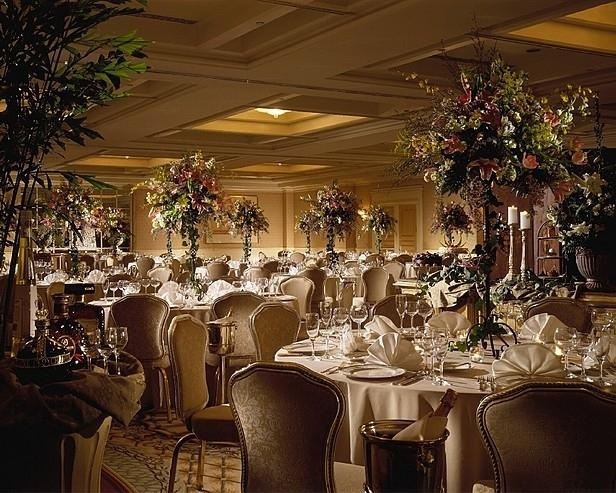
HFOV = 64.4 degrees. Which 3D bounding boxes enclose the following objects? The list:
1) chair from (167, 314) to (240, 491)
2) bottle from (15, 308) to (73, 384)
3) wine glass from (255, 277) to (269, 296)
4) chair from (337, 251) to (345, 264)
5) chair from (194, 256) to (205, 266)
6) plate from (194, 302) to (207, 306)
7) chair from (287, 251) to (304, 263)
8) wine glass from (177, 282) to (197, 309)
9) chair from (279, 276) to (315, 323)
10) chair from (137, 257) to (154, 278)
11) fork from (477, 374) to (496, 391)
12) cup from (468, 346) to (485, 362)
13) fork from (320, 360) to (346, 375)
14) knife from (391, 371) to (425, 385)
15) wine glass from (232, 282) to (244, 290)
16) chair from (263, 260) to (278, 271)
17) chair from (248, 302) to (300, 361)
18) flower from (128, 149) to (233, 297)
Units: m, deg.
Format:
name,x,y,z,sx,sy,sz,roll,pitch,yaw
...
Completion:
name,x,y,z,sx,sy,sz,roll,pitch,yaw
chair,-0.668,1.000,3.075,0.396,1.134,0.673,0,-4,-16
bottle,-0.767,0.309,1.518,0.164,0.189,0.180,1,2,2
wine glass,-0.589,0.517,6.250,0.187,0.300,0.183,-3,3,-9
chair,0.916,0.309,13.409,0.295,0.350,0.304,0,2,-16
chair,-1.881,0.268,8.524,0.213,0.221,0.221,0,4,3
plate,-1.173,0.633,5.375,0.124,0.037,0.168,0,-5,-16
chair,-0.276,0.298,12.856,0.253,0.353,0.338,2,-3,-16
wine glass,-1.338,0.568,5.430,0.200,0.355,0.228,2,1,2
chair,-0.108,0.698,6.873,0.447,0.871,0.530,-1,-8,3
chair,-3.411,0.446,10.247,0.333,0.500,0.401,3,1,-8
fork,0.825,0.624,2.250,0.044,0.018,0.118,3,9,4
cup,0.961,0.610,2.758,0.086,0.089,0.090,0,-6,0
fork,0.141,0.661,2.665,0.078,0.046,0.362,4,-7,11
knife,0.490,0.622,2.361,0.054,0.043,0.349,9,1,29
wine glass,-0.825,0.469,5.721,0.088,0.111,0.107,-2,13,-4
chair,-0.747,0.403,10.078,0.208,0.166,0.216,1,-4,2
chair,-0.294,0.659,3.797,0.369,0.723,0.419,2,-6,-10
flower,-1.281,-0.376,5.151,0.813,1.311,0.405,0,-4,-11
